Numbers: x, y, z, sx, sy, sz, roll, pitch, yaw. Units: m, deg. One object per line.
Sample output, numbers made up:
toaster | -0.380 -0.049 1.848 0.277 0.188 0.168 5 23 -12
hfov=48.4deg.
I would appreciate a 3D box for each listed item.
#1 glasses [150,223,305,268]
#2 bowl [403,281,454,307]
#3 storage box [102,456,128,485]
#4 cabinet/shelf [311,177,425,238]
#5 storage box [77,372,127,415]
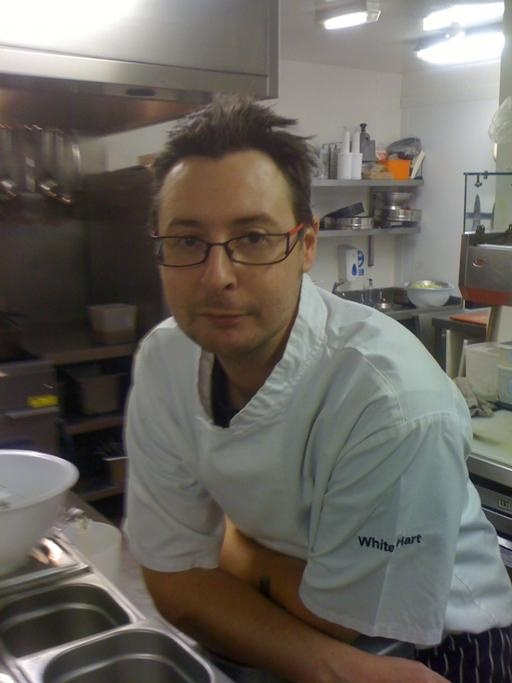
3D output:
glasses | -0.035 -0.133 0.810 0.209 0.055 0.102 -3 12 -8
bowl | 1.532 -0.415 5.070 0.292 0.180 0.295 -2 8 0
storage box | -0.665 0.619 2.715 0.127 0.177 0.147 1 3 -9
cabinet/shelf | 0.821 -1.276 5.354 1.473 0.482 0.507 2 24 14
storage box | -0.694 0.283 2.752 0.268 0.195 0.161 -9 -27 3
